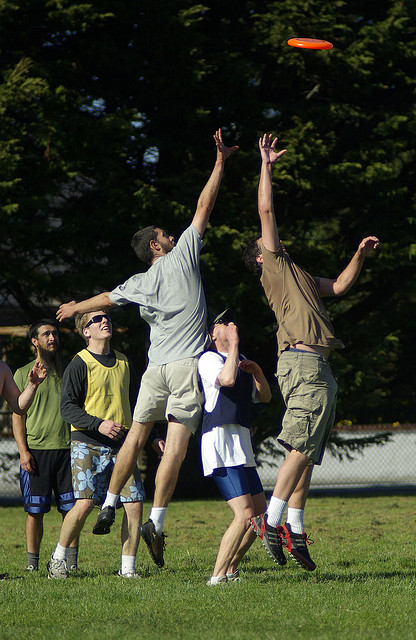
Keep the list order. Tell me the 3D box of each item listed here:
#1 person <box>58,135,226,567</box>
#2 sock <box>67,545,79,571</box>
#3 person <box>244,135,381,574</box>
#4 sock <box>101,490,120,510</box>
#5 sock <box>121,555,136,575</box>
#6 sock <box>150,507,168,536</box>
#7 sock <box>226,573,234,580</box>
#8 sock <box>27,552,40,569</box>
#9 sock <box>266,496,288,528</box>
[{"bbox_3d":[-0.434,0.306,11.313,0.900,3.302,0.693,3,4,-1],"label":"person"},{"bbox_3d":[-1.239,2.082,12.176,0.087,0.189,0.186,2,4,-6],"label":"sock"},{"bbox_3d":[0.706,0.253,11.290,0.842,3.489,0.999,6,5,36],"label":"person"},{"bbox_3d":[-0.849,1.468,11.385,0.131,0.182,0.101,26,16,-17],"label":"sock"},{"bbox_3d":[-0.709,2.058,11.697,0.106,0.166,0.121,2,4,-4],"label":"sock"},{"bbox_3d":[-0.445,1.626,11.195,0.116,0.228,0.242,3,4,-2],"label":"sock"},{"bbox_3d":[0.158,2.083,11.261,0.028,0.042,0.078,5,4,28],"label":"sock"},{"bbox_3d":[-1.603,2.127,12.287,0.112,0.157,0.108,0,-4,-5],"label":"sock"},{"bbox_3d":[0.525,1.522,11.032,0.152,0.239,0.197,3,4,2],"label":"sock"}]
